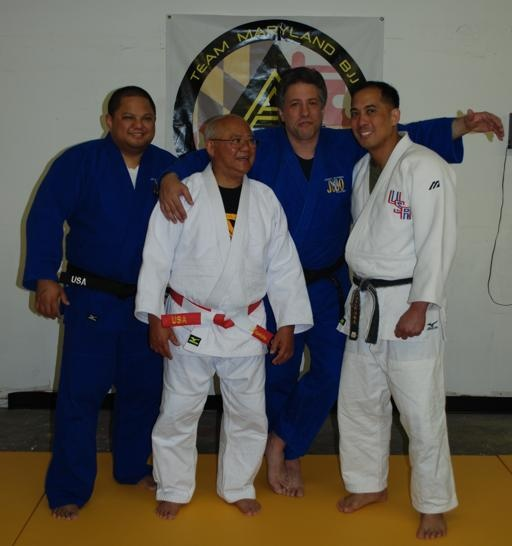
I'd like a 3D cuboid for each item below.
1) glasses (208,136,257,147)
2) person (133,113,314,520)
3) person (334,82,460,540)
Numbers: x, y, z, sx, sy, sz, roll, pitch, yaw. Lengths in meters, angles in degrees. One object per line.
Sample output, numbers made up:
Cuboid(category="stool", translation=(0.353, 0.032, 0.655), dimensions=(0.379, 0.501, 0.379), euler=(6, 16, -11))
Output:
Cuboid(category="glasses", translation=(-0.096, -0.518, 2.322), dimensions=(0.176, 0.042, 0.072), euler=(0, 5, -6))
Cuboid(category="person", translation=(-0.123, 0.193, 2.432), dimensions=(0.705, 1.647, 0.246), euler=(0, 4, -3))
Cuboid(category="person", translation=(0.578, 0.236, 2.409), dimensions=(0.511, 1.604, 0.307), euler=(2, 5, 21))
